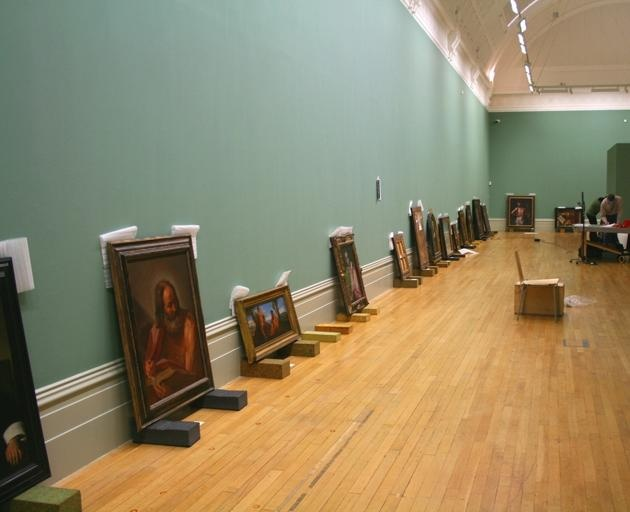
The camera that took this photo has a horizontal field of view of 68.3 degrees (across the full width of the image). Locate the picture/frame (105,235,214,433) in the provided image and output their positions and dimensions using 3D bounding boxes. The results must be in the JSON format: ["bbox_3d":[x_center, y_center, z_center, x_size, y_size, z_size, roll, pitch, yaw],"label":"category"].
[{"bbox_3d":[-1.263,0.610,3.906,0.256,1.562,0.954,-1,8,22],"label":"picture/frame"}]

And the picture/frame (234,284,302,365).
[{"bbox_3d":[-0.535,0.787,5.431,0.243,0.779,1.047,-1,8,24],"label":"picture/frame"}]

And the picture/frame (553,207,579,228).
[{"bbox_3d":[12.626,-1.885,23.281,1.150,1.220,0.693,-1,8,30],"label":"picture/frame"}]

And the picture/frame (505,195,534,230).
[{"bbox_3d":[10.533,-2.256,23.818,1.441,2.128,0.286,2,6,22],"label":"picture/frame"}]

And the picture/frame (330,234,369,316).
[{"bbox_3d":[0.535,0.329,7.606,0.163,1.297,1.032,-9,8,23],"label":"picture/frame"}]

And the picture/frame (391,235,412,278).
[{"bbox_3d":[1.911,0.028,10.423,0.067,0.992,0.809,-11,3,26],"label":"picture/frame"}]
